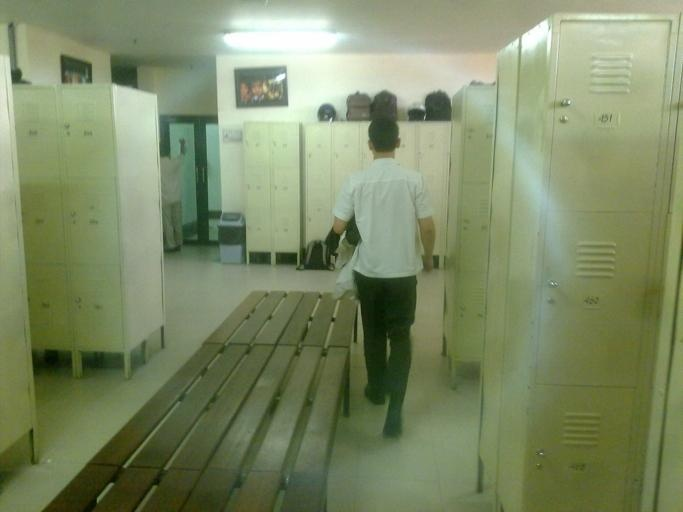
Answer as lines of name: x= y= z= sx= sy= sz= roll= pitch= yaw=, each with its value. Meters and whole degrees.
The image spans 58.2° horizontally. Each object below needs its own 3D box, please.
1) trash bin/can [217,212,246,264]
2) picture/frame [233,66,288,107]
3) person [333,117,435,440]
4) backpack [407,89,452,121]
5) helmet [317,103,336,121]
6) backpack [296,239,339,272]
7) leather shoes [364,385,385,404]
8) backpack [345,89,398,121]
trash bin/can: x=-1.175 y=-0.188 z=6.651 sx=0.266 sy=0.498 sz=0.262 roll=1 pitch=14 yaw=1
picture/frame: x=-0.754 y=-1.623 z=5.871 sx=0.523 sy=0.355 sz=1.281 roll=-3 pitch=12 yaw=-9
person: x=0.187 y=0.074 z=2.840 sx=0.388 sy=1.400 sz=0.382 roll=8 pitch=15 yaw=37
backpack: x=0.843 y=-1.402 z=5.801 sx=0.307 sy=0.171 sz=0.384 roll=-9 pitch=22 yaw=41
helmet: x=-0.154 y=-1.490 z=6.337 sx=0.177 sy=0.190 sz=0.094 roll=2 pitch=25 yaw=0
backpack: x=-0.239 y=0.004 z=6.092 sx=0.292 sy=0.441 sz=0.406 roll=3 pitch=-23 yaw=3
leather shoes: x=0.168 y=0.693 z=3.039 sx=0.108 sy=0.111 sz=0.069 roll=4 pitch=17 yaw=14
backpack: x=0.288 y=-1.471 z=5.982 sx=0.493 sy=0.291 sz=0.319 roll=1 pitch=12 yaw=8
